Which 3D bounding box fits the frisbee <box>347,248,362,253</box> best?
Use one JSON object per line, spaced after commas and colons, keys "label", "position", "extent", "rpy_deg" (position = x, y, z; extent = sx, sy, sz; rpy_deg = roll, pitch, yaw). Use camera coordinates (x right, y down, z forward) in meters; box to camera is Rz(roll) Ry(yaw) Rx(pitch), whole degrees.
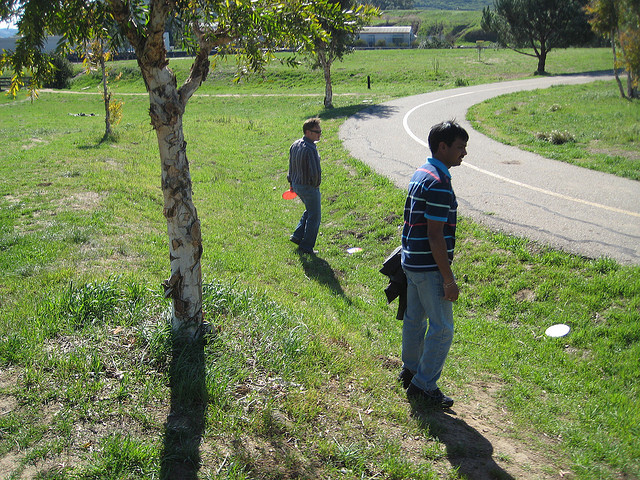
{"label": "frisbee", "position": [0.728, 0.225, 13.228], "extent": [0.301, 0.038, 0.179], "rpy_deg": [0, 20, 5]}

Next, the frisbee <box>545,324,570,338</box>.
{"label": "frisbee", "position": [3.814, 1.460, 10.189], "extent": [0.330, 0.142, 0.273], "rpy_deg": [-5, 19, -10]}

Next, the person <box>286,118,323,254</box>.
{"label": "person", "position": [-0.283, -0.996, 12.689], "extent": [0.648, 2.744, 0.601], "rpy_deg": [2, 15, 12]}

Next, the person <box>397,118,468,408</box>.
{"label": "person", "position": [1.480, 0.420, 8.646], "extent": [0.841, 3.825, 0.886], "rpy_deg": [2, 15, 12]}
